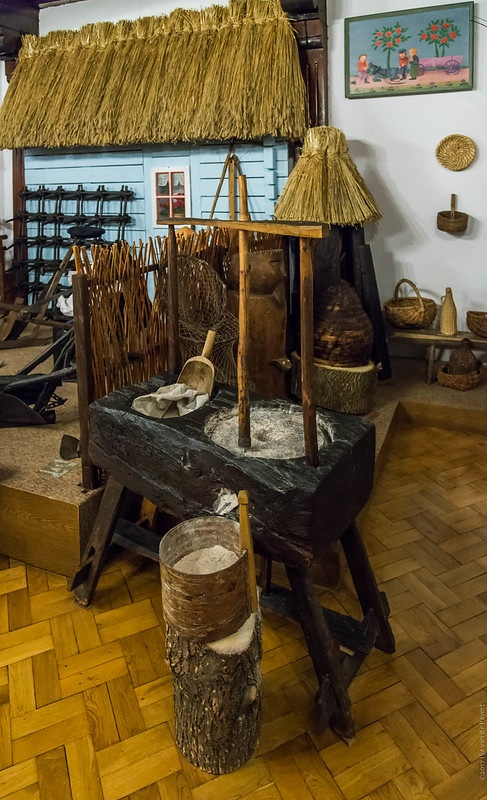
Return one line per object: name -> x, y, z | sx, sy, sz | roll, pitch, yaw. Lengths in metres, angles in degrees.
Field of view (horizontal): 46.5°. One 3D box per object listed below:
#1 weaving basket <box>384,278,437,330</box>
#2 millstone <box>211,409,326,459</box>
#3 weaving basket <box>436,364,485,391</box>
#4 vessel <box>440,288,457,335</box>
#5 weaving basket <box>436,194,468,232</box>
weaving basket -> 1.099, -0.662, 3.769 | 0.328, 0.353, 0.352 | -2, 20, 20
millstone -> 0.028, 0.087, 1.556 | 0.269, 0.058, 0.434 | 1, 15, 4
weaving basket -> 1.396, -0.137, 3.591 | 0.279, 0.127, 0.158 | -1, 14, -2
vessel -> 1.318, -0.565, 3.616 | 0.102, 0.290, 0.153 | 4, 14, 18
weaving basket -> 1.369, -1.205, 3.696 | 0.191, 0.256, 0.161 | 5, 14, 22
